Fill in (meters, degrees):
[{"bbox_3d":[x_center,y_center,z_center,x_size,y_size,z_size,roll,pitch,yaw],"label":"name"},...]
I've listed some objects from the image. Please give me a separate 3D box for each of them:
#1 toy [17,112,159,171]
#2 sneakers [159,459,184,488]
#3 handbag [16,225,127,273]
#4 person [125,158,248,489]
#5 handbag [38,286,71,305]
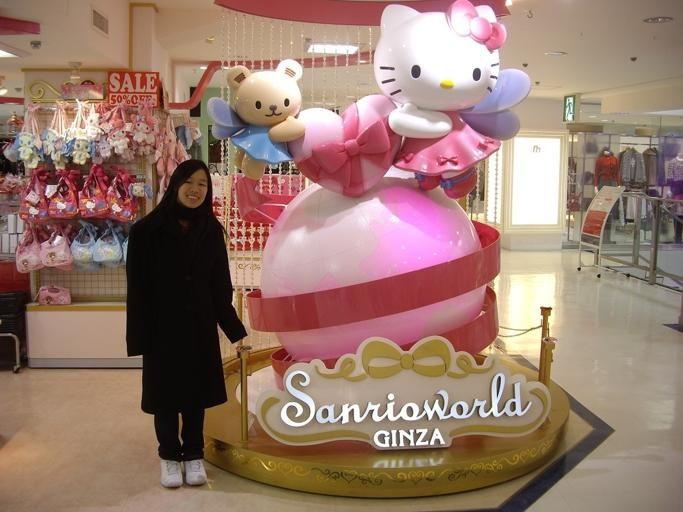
[{"bbox_3d":[-2.444,-1.131,4.927,1.340,0.565,0.340,1,9,6],"label":"toy"},{"bbox_3d":[-1.000,1.282,3.017,0.074,0.099,0.225,2,-12,-18],"label":"sneakers"},{"bbox_3d":[-2.550,-0.101,4.912,1.014,0.449,0.310,1,9,5],"label":"handbag"},{"bbox_3d":[-0.899,0.170,2.998,0.639,1.425,0.275,-2,8,-13],"label":"person"},{"bbox_3d":[-2.764,0.382,4.962,0.220,0.171,0.189,2,4,-7],"label":"handbag"}]
